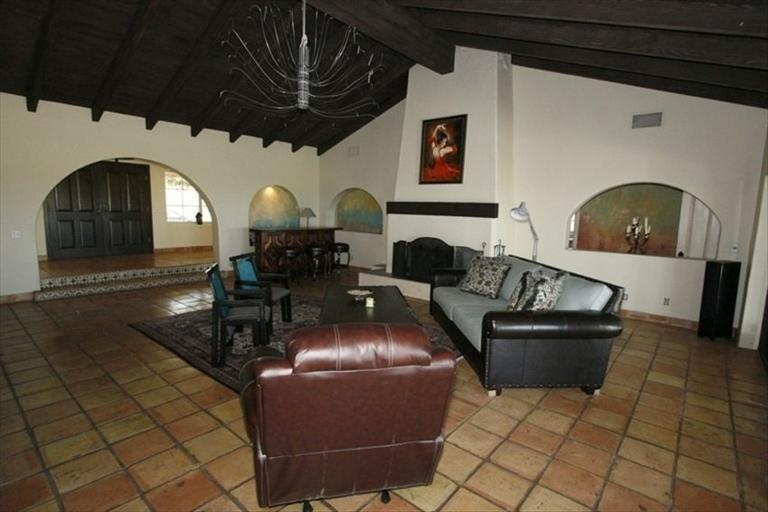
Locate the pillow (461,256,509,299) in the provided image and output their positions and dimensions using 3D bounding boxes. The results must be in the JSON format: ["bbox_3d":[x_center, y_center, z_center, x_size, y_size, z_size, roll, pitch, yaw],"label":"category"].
[{"bbox_3d":[1.503,0.310,6.895,0.184,0.612,0.649,29,-3,-34],"label":"pillow"}]

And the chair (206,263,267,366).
[{"bbox_3d":[-1.931,0.739,6.289,0.833,1.181,0.868,-2,9,-18],"label":"chair"}]

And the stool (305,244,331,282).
[{"bbox_3d":[-1.422,0.197,10.640,0.592,0.624,0.598,-10,-8,8],"label":"stool"}]

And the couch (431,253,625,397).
[{"bbox_3d":[1.770,0.785,6.558,1.683,1.362,2.839,2,10,-7],"label":"couch"}]

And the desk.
[{"bbox_3d":[-2.003,-0.042,10.804,2.194,1.210,0.777,-5,2,-35],"label":"desk"}]

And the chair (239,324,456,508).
[{"bbox_3d":[-0.396,1.310,4.696,1.713,1.696,1.666,-2,14,-10],"label":"chair"}]

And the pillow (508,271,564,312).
[{"bbox_3d":[1.902,0.428,5.631,0.164,0.540,0.532,26,-7,-22],"label":"pillow"}]

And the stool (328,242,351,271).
[{"bbox_3d":[-1.019,0.027,11.211,0.585,0.727,0.575,-2,5,-40],"label":"stool"}]

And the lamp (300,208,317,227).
[{"bbox_3d":[-1.874,-0.939,11.475,0.442,0.610,0.429,0,0,4],"label":"lamp"}]
